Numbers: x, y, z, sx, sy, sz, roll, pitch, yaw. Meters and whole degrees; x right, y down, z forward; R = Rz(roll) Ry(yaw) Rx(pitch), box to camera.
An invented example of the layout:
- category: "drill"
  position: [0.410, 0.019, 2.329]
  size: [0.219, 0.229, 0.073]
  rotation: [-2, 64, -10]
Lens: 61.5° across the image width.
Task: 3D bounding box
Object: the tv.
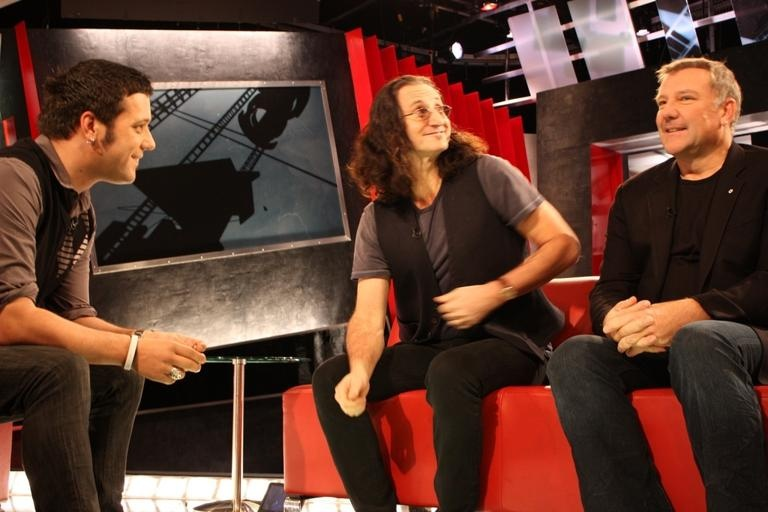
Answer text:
- category: "tv"
  position: [-1.021, -0.442, 3.892]
  size: [1.311, 0.906, 0.046]
  rotation: [-6, -5, -27]
